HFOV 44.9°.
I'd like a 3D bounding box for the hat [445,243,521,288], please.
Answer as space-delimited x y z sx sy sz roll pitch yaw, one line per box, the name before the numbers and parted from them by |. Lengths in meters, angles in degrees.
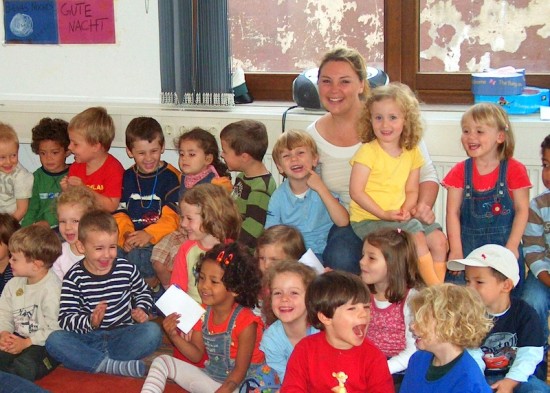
hat | 0.976 0.319 3.101 0.275 0.143 0.205 8 -8 -2
